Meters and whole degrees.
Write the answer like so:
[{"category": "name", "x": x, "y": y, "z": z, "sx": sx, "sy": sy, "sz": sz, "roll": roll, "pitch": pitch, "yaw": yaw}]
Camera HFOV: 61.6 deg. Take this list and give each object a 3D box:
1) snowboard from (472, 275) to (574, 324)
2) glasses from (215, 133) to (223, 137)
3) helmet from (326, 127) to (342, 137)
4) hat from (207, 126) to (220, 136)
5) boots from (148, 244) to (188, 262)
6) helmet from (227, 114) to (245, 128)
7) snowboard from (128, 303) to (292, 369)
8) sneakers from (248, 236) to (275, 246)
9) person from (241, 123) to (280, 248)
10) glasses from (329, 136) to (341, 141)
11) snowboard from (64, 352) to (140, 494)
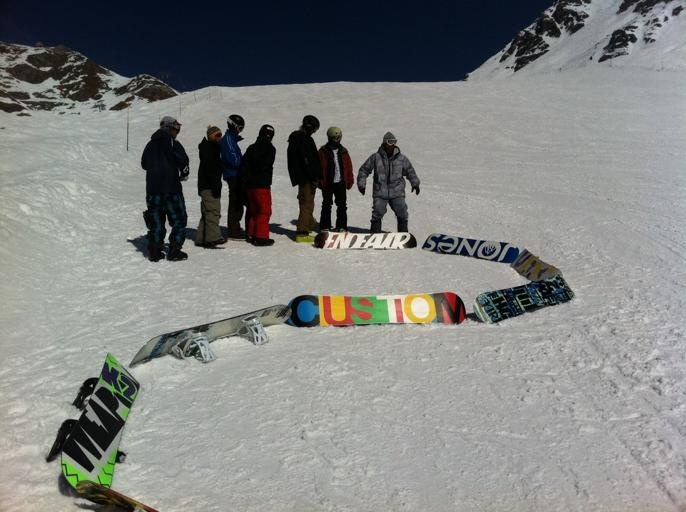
[{"category": "snowboard", "x": 2.022, "y": 0.522, "z": 6.648, "sx": 1.603, "sy": 0.210, "sz": 0.442, "roll": -12, "pitch": 72, "yaw": -25}, {"category": "glasses", "x": -1.744, "y": -1.695, "z": 8.021, "sx": 0.080, "sy": 0.025, "sz": 0.080, "roll": 7, "pitch": 11, "yaw": 43}, {"category": "helmet", "x": -0.127, "y": -1.853, "z": 8.718, "sx": 0.184, "sy": 0.151, "sz": 0.210, "roll": 24, "pitch": 36, "yaw": 39}, {"category": "hat", "x": -1.839, "y": -1.747, "z": 7.988, "sx": 0.162, "sy": 0.111, "sz": 0.158, "roll": -10, "pitch": 15, "yaw": 29}, {"category": "boots", "x": -2.334, "y": -0.059, "z": 7.644, "sx": 0.618, "sy": 0.253, "sz": 0.196, "roll": -3, "pitch": 16, "yaw": -17}, {"category": "helmet", "x": -1.552, "y": -1.912, "z": 8.259, "sx": 0.201, "sy": 0.292, "sz": 0.183, "roll": -13, "pitch": 48, "yaw": -14}, {"category": "snowboard", "x": -1.106, "y": 0.745, "z": 6.014, "sx": 2.061, "sy": 0.445, "sz": 0.281, "roll": -12, "pitch": 16, "yaw": -37}, {"category": "sneakers", "x": -1.222, "y": -0.223, "z": 8.507, "sx": 0.365, "sy": 0.133, "sz": 0.126, "roll": 3, "pitch": -2, "yaw": 18}, {"category": "person", "x": -1.240, "y": -0.866, "z": 8.513, "sx": 0.566, "sy": 1.821, "sz": 1.115, "roll": -5, "pitch": 47, "yaw": -6}, {"category": "glasses", "x": -0.131, "y": -1.779, "z": 8.716, "sx": 0.096, "sy": 0.058, "sz": 0.115, "roll": -10, "pitch": 5, "yaw": -41}, {"category": "snowboard", "x": -1.962, "y": 1.366, "z": 4.670, "sx": 0.359, "sy": 0.146, "sz": 1.046, "roll": 36, "pitch": 33, "yaw": -19}]
